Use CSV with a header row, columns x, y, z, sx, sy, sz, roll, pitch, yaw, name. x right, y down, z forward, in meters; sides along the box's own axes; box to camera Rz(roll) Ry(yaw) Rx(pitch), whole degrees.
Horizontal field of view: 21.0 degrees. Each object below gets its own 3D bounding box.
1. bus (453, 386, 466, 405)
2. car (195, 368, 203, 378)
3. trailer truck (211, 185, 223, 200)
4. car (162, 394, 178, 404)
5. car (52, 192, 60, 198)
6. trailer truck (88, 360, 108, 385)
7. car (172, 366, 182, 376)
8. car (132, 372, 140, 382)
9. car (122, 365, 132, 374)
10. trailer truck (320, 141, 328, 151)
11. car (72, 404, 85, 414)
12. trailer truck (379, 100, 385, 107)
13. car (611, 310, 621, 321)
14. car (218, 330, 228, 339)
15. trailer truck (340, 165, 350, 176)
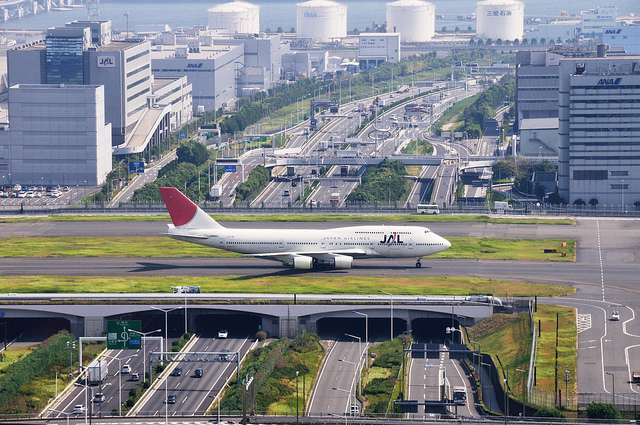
x,y,z,sx,sy,sz,roll,pitch,yaw,name
26.612,34.877,333.496,1.991,1.578,3.392,2,26,-1,bus
-24.132,31.688,343.120,1.931,1.442,3.260,0,0,-2,car
-26.285,-5.448,437.156,2.387,1.799,3.813,0,10,2,trailer truck
-29.337,36.156,337.428,2.479,0.976,1.428,3,4,23,car
-66.818,-4.782,437.642,1.660,0.917,2.041,-2,10,-11,car
-43.806,30.860,339.557,3.138,2.526,4.982,1,13,0,trailer truck
-28.485,31.408,344.171,1.504,1.068,2.390,1,10,0,car
-36.532,32.447,342.805,1.516,1.012,2.843,0,-6,-2,car
-38.503,31.051,344.793,1.734,1.549,1.398,-1,10,-6,car
0.731,-18.819,487.247,2.695,2.350,2.265,-3,54,1,trailer truck
-46.561,37.924,334.577,2.062,1.190,3.248,-1,9,-6,car
19.864,-35.576,558.355,2.223,1.799,2.072,1,0,-21,trailer truck
59.574,20.673,350.866,2.019,1.566,4.037,-1,2,3,car
-19.974,24.895,354.876,1.808,1.064,2.339,0,-3,-1,car
6.284,-11.679,461.596,2.161,2.761,3.088,1,10,5,trailer truck
